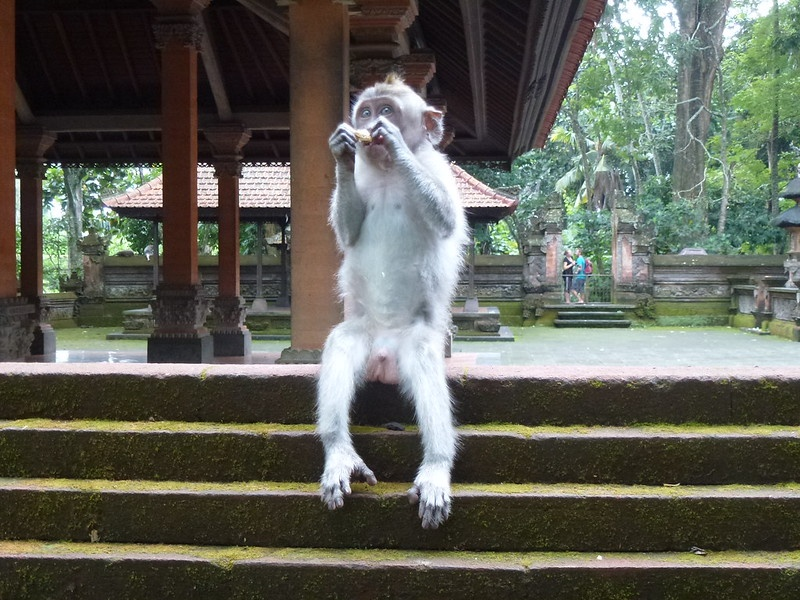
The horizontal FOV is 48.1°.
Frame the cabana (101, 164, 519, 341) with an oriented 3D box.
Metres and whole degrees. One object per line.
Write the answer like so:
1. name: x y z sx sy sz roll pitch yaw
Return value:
1. cabana: -2.640 -0.992 18.073 6.454 2.689 2.704 0 -12 27
